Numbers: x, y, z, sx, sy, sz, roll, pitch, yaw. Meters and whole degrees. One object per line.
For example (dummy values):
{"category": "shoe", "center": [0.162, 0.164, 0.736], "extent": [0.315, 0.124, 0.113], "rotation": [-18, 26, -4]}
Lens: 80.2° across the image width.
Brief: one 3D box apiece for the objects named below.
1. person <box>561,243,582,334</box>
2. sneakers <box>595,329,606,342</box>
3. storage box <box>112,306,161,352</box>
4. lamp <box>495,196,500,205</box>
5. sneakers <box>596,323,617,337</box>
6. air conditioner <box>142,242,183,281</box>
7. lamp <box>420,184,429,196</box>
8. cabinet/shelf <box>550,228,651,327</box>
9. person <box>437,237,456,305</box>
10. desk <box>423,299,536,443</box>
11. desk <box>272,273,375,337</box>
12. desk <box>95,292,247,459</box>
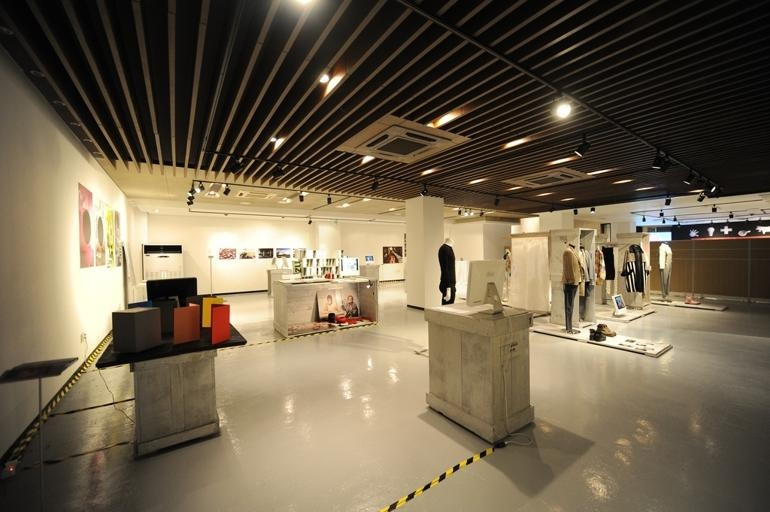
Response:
{"category": "person", "center": [3.847, 0.646, 9.398], "extent": [0.358, 1.845, 0.475], "rotation": [-1, -2, 23]}
{"category": "sneakers", "center": [4.153, 1.527, 8.805], "extent": [0.146, 0.198, 0.300], "rotation": [-1, -2, 36]}
{"category": "storage box", "center": [-3.062, 0.816, 5.790], "extent": [0.481, 0.635, 0.652], "rotation": [-2, -1, 16]}
{"category": "lamp", "center": [3.009, -1.509, 12.285], "extent": [0.159, 0.277, 0.169], "rotation": [-1, 1, -14]}
{"category": "sneakers", "center": [4.351, 1.468, 9.030], "extent": [0.247, 0.159, 0.388], "rotation": [-4, 3, -32]}
{"category": "air conditioner", "center": [-6.634, 0.167, 13.476], "extent": [1.110, 1.119, 0.572], "rotation": [-1, -1, -41]}
{"category": "lamp", "center": [0.952, -1.603, 11.152], "extent": [0.163, 0.306, 0.162], "rotation": [0, -2, -39]}
{"category": "cabinet/shelf", "center": [5.009, 0.535, 10.602], "extent": [2.170, 2.038, 1.146], "rotation": [-2, 4, -26]}
{"category": "person", "center": [1.228, 0.309, 9.076], "extent": [0.286, 1.279, 0.741], "rotation": [0, -2, 5]}
{"category": "desk", "center": [1.344, 1.549, 6.548], "extent": [0.916, 1.519, 1.383], "rotation": [-4, 3, -31]}
{"category": "desk", "center": [-1.206, 1.011, 9.798], "extent": [1.957, 1.070, 1.003], "rotation": [-4, -1, -13]}
{"category": "desk", "center": [-2.983, 1.494, 6.427], "extent": [1.782, 1.725, 1.911], "rotation": [-5, 5, -35]}
